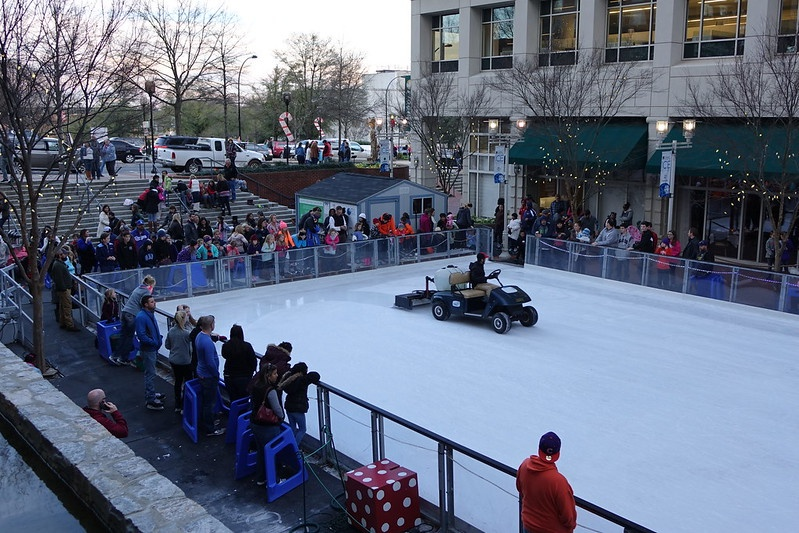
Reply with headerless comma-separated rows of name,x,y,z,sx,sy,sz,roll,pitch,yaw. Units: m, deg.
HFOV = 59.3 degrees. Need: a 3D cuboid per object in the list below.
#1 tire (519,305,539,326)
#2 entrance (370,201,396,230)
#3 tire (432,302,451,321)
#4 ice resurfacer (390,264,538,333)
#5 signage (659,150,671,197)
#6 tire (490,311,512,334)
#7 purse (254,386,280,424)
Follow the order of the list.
tire,3.963,1.542,21.690,0.644,0.656,0.492,-3,10,-2
entrance,-0.799,-2.181,29.907,1.214,1.428,0.150,-4,5,-33
tire,1.320,1.405,22.426,0.149,0.436,0.430,-6,-30,-45
ice resurfacer,2.150,1.150,22.717,4.416,1.813,2.036,6,11,41
signage,10.083,-3.493,26.601,0.411,1.870,0.031,5,34,25
tire,3.043,1.676,21.320,0.669,0.641,0.308,6,13,39
purse,-2.481,2.641,13.245,0.397,0.596,0.231,20,-8,-27
